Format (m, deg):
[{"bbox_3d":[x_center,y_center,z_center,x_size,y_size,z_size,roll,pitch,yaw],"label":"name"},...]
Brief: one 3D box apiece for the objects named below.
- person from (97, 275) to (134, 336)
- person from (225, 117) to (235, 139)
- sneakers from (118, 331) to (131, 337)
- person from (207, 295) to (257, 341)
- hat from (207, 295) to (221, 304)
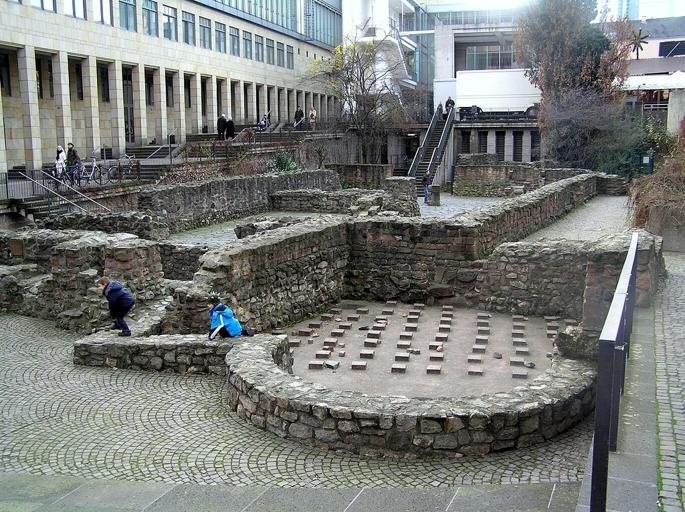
[{"bbox_3d":[-4.153,0.888,10.398,0.517,0.920,1.057,-6,11,-31],"label":"person"},{"bbox_3d":[-7.306,-8.084,35.898,0.488,1.379,2.119,-2,10,-13],"label":"person"},{"bbox_3d":[-3.933,1.371,10.064,0.252,0.086,0.137,1,9,6],"label":"sneakers"},{"bbox_3d":[-2.062,1.119,9.703,0.497,0.782,0.907,-31,-19,38],"label":"person"},{"bbox_3d":[-2.231,0.730,9.565,0.204,0.079,0.196,1,5,37],"label":"hat"}]
